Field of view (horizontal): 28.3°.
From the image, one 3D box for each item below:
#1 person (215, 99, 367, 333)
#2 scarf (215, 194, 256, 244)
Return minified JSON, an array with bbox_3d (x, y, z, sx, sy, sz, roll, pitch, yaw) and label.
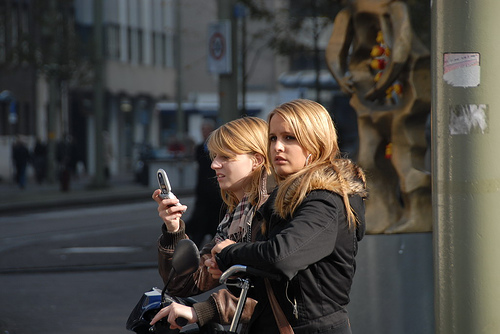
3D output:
[{"bbox_3d":[0.333,0.341,6.613,0.883,1.577,0.435,-3,3,8],"label":"person"},{"bbox_3d":[-0.099,0.386,7.005,0.136,0.366,0.254,14,-19,-33],"label":"scarf"}]
